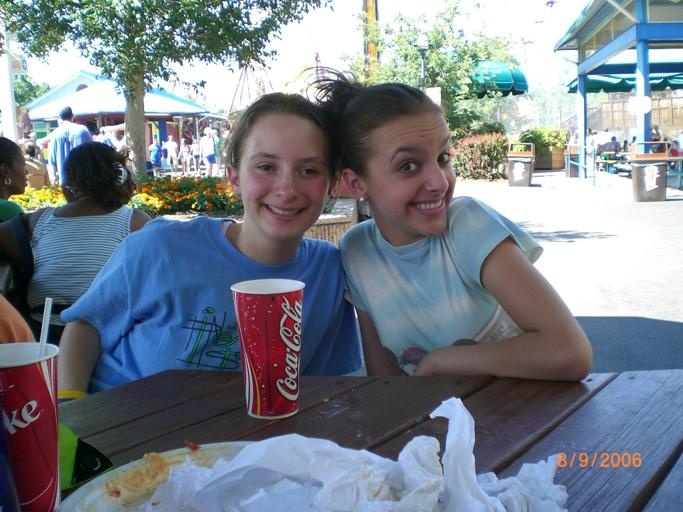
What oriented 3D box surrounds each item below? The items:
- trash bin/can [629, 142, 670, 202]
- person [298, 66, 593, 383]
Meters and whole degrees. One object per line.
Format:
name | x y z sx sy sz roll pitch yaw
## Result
trash bin/can | 7.493 -2.081 13.023 0.799 1.379 0.953 5 14 31
person | 0.398 -0.127 2.080 0.586 1.280 1.315 -8 13 -28
